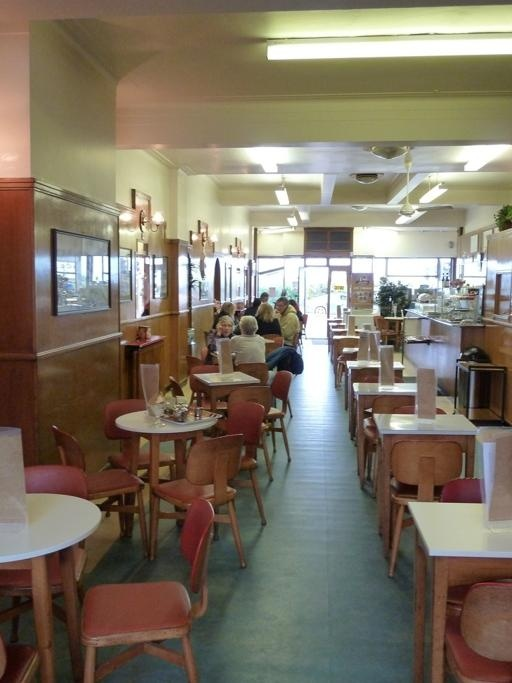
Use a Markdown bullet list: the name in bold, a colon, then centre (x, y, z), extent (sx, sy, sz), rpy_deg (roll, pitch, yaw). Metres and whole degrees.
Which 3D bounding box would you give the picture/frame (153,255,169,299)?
- **picture/frame**: centre (-1.360, -0.917, 7.541), extent (0.048, 0.596, 0.958), rpy_deg (-1, 8, -29)
